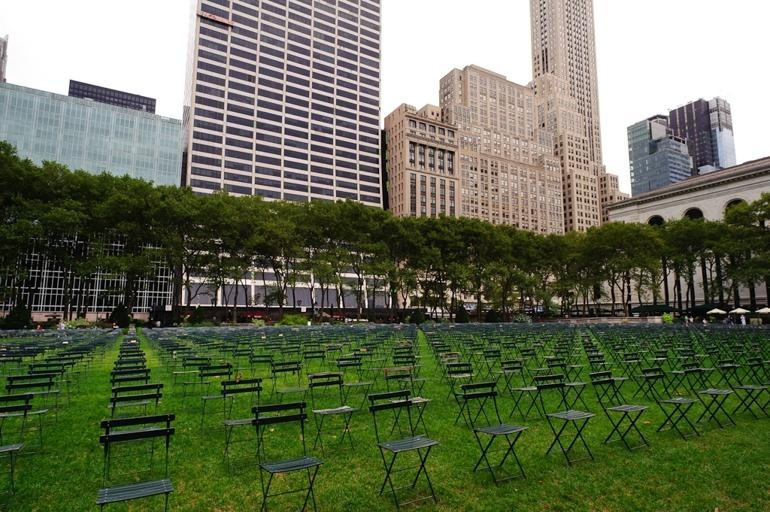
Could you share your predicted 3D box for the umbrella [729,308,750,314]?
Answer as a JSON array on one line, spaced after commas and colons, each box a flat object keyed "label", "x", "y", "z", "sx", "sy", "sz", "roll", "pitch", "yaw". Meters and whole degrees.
[{"label": "umbrella", "x": 35.170, "y": 5.448, "z": 55.436, "sx": 1.163, "sy": 0.462, "sz": 1.147, "roll": 12, "pitch": -14, "yaw": -37}]

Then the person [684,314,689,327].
[{"label": "person", "x": 30.886, "y": 6.625, "z": 57.482, "sx": 0.172, "sy": 0.943, "sz": 0.425, "roll": 10, "pitch": 0, "yaw": 7}]
